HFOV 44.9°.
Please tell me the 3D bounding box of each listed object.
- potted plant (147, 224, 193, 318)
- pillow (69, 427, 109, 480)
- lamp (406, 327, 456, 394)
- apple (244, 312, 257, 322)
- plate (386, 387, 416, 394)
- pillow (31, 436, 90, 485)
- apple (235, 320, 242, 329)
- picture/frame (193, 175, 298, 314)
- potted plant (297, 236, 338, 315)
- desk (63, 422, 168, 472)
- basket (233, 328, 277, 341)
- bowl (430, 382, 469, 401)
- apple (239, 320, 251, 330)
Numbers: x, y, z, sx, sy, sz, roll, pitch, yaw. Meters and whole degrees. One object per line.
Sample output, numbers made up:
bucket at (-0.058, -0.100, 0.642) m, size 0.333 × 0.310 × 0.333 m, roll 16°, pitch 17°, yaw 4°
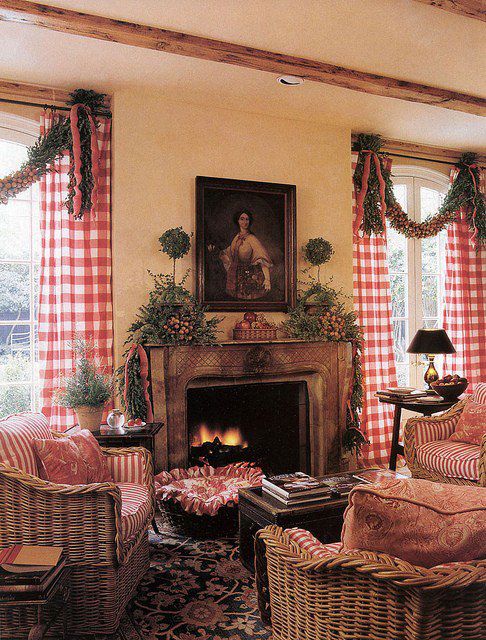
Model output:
potted plant at (-0.470, -0.327, 3.845) m, size 0.279 × 0.569 × 0.383 m, roll 0°, pitch 1°, yaw -8°
pillow at (-0.703, 0.617, 2.683) m, size 0.071 × 0.130 × 0.193 m, roll -18°, pitch 24°, yaw -14°
lamp at (1.386, 0.276, 4.332) m, size 0.469 × 0.493 × 0.450 m, roll 1°, pitch 6°, yaw 31°
apple at (0.049, -0.021, 4.085) m, size 0.075 × 0.064 × 0.072 m, roll 0°, pitch 3°, yaw -44°
plate at (1.137, 0.516, 4.293) m, size 0.113 × 0.024 × 0.114 m, roll -1°, pitch 1°, yaw -42°
pillow at (-0.780, 0.596, 2.482) m, size 0.301 × 0.185 × 0.106 m, roll -5°, pitch -18°, yaw 11°
apple at (-0.018, 0.036, 4.054) m, size 0.054 × 0.046 × 0.048 m, roll 3°, pitch -2°, yaw -22°
picture/frame at (-0.012, -0.524, 4.145) m, size 1.155 × 1.184 × 0.096 m, roll 0°, pitch -1°, yaw -28°
potted plant at (0.549, -0.326, 4.390) m, size 0.218 × 0.568 × 0.291 m, roll 0°, pitch 1°, yaw 6°
desk at (-0.632, 0.644, 3.220) m, size 0.330 × 0.277 × 0.310 m, roll -1°, pitch 0°, yaw -17°
basket at (0.080, 0.098, 4.029) m, size 0.292 × 0.084 × 0.163 m, roll 0°, pitch 1°, yaw -2°
bowl at (1.479, 0.499, 4.164) m, size 0.163 × 0.080 × 0.158 m, roll -2°, pitch -1°, yaw 0°
apple at (0.015, 0.035, 4.019) m, size 0.071 × 0.034 × 0.085 m, roll 1°, pitch 2°, yaw 0°
